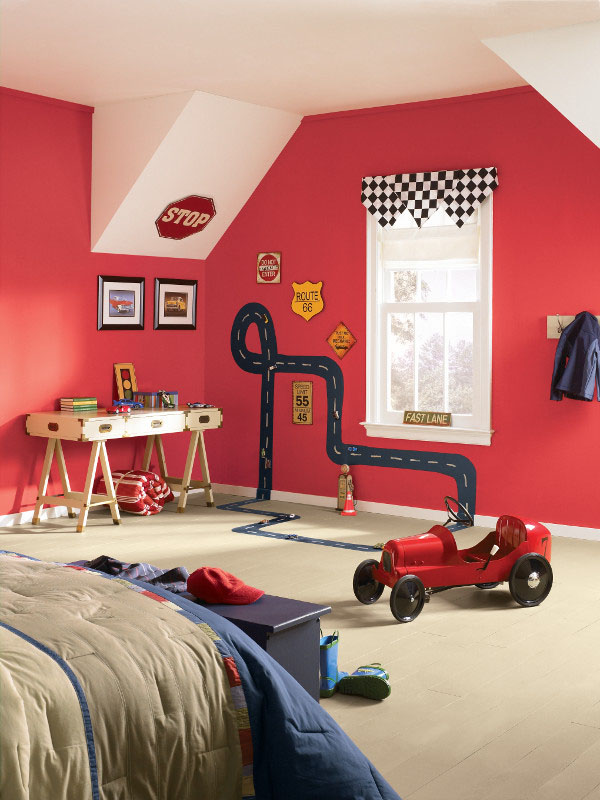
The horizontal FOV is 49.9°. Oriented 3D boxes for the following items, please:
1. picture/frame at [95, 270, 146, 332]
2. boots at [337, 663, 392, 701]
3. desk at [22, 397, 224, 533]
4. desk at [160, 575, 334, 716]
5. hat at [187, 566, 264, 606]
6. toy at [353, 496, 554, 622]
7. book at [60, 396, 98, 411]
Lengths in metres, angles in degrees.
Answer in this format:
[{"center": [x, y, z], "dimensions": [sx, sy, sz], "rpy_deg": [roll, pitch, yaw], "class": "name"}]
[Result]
[{"center": [-1.669, -0.903, 6.067], "dimensions": [0.470, 0.444, 0.035], "rpy_deg": [4, 6, 23], "class": "picture/frame"}, {"center": [0.241, 1.086, 2.536], "dimensions": [0.245, 0.092, 0.104], "rpy_deg": [-2, 12, 27], "class": "boots"}, {"center": [-1.544, 0.574, 5.925], "dimensions": [0.626, 0.955, 1.797], "rpy_deg": [3, 2, 28], "class": "desk"}, {"center": [-0.125, 0.884, 2.248], "dimensions": [0.315, 0.346, 0.366], "rpy_deg": [2, 1, 30], "class": "desk"}, {"center": [-0.272, 0.655, 2.299], "dimensions": [0.211, 0.067, 0.131], "rpy_deg": [6, 10, -3], "class": "hat"}, {"center": [0.861, 0.872, 3.686], "dimensions": [1.070, 0.517, 0.496], "rpy_deg": [0, -1, -23], "class": "toy"}, {"center": [-1.876, 0.013, 5.556], "dimensions": [0.153, 0.066, 0.204], "rpy_deg": [3, 4, 31], "class": "book"}]
